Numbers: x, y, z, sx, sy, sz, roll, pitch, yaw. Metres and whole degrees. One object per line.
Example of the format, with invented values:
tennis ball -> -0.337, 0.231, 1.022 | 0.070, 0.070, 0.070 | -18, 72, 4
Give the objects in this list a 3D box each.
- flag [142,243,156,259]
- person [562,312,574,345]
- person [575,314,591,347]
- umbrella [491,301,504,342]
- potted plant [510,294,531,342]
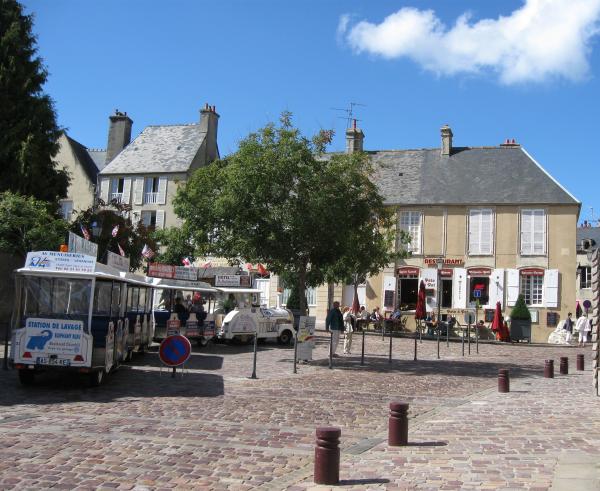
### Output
flag -> -7.529, 0.185, 32.747 | 0.902, 1.079, 0.045 | 0, -14, -11
person -> 15.247, 4.641, 37.196 | 0.478, 1.668, 1.249 | -1, -7, 21
person -> 15.380, 4.533, 35.617 | 0.732, 1.568, 3.137 | -1, -8, 23
umbrella -> 10.784, 4.070, 35.714 | 0.574, 2.060, 0.957 | -1, -7, 26
potted plant -> 12.629, 4.082, 37.529 | 1.175, 2.686, 0.770 | 2, -6, 1
